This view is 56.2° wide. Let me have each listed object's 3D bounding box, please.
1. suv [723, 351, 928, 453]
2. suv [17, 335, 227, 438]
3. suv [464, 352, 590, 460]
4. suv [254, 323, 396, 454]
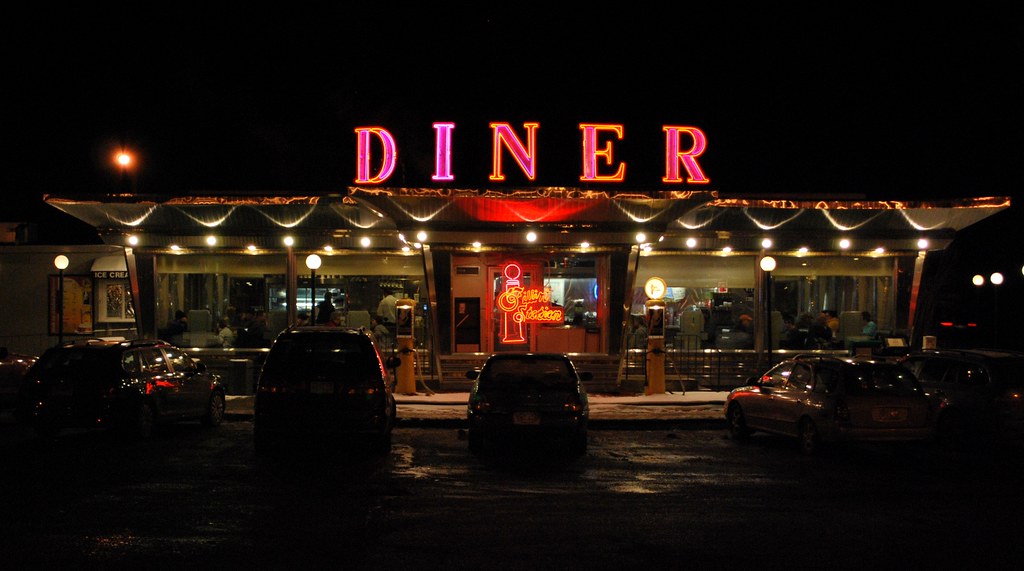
[{"bbox_3d":[8.060,3.127,24.407,4.746,2.521,1.815,7,13,29],"label":"suv"},{"bbox_3d":[-10.193,2.587,25.765,2.624,1.753,4.282,-1,0,30],"label":"suv"},{"bbox_3d":[0.389,3.020,23.946,2.888,2.427,1.334,2,12,5],"label":"suv"},{"bbox_3d":[-4.517,2.452,22.850,2.499,1.800,3.786,0,5,-4],"label":"suv"}]
